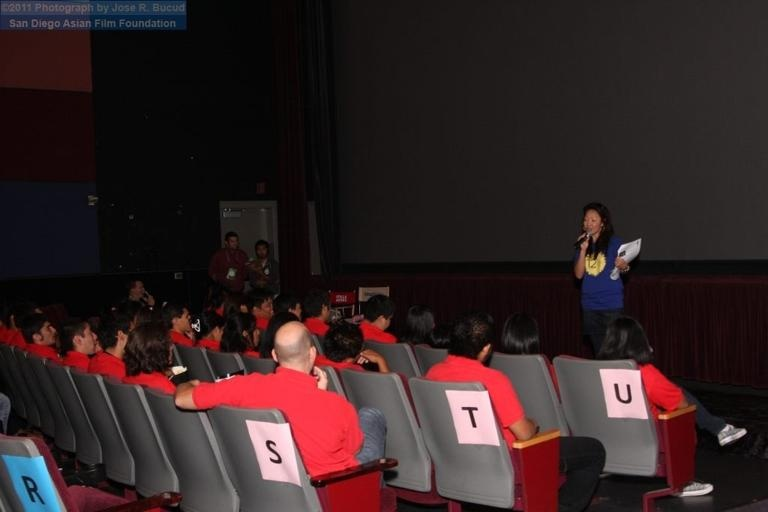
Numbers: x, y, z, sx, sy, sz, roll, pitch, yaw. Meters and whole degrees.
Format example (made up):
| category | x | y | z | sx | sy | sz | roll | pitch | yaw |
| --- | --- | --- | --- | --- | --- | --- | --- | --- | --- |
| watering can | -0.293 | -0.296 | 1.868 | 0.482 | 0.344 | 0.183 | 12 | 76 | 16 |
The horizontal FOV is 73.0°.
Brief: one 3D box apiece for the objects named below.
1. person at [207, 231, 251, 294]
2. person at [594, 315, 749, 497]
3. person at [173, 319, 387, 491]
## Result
| category | x | y | z | sx | sy | sz | roll | pitch | yaw |
| --- | --- | --- | --- | --- | --- | --- | --- | --- | --- |
| person | -2.459 | 0.237 | 8.435 | 0.615 | 1.240 | 0.576 | -9 | 22 | -36 |
| person | 1.953 | 0.971 | 3.523 | 0.746 | 1.248 | 0.603 | -16 | -2 | -6 |
| person | -0.450 | 0.721 | 2.567 | 1.002 | 0.798 | 0.616 | -2 | 2 | -21 |
